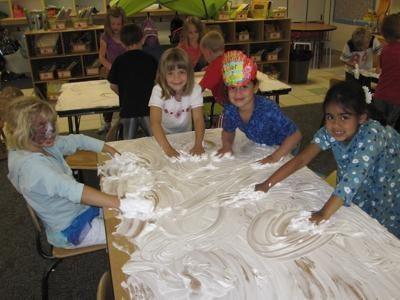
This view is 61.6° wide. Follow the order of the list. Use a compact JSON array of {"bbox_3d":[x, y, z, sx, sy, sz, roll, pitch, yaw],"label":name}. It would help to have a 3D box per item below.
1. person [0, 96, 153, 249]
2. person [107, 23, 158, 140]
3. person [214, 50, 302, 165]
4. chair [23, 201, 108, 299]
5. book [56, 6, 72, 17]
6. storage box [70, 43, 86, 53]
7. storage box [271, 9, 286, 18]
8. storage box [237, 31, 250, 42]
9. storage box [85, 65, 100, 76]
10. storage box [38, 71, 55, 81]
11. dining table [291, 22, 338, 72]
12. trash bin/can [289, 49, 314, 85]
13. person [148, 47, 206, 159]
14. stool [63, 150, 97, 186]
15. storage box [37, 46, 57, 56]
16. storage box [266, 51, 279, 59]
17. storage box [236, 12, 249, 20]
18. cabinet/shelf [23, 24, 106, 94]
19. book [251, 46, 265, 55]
[{"bbox_3d":[-0.847,0.156,2.327,0.624,1.104,0.645,-16,47,-17],"label":"person"},{"bbox_3d":[-0.718,-0.618,3.633,0.520,1.581,0.476,-11,44,-23],"label":"person"},{"bbox_3d":[0.360,-0.364,2.360,0.563,0.804,0.526,5,32,33],"label":"person"},{"bbox_3d":[-0.885,0.689,2.242,0.354,0.650,0.338,-8,40,-13],"label":"chair"},{"bbox_3d":[-2.341,-2.379,5.782,0.172,0.150,0.376,-6,25,-7],"label":"book"},{"bbox_3d":[-2.088,-1.788,5.825,0.268,0.161,0.106,-10,25,-14],"label":"storage box"},{"bbox_3d":[1.464,-2.596,6.328,0.188,0.134,0.203,6,23,21],"label":"storage box"},{"bbox_3d":[0.833,-2.159,6.358,0.242,0.173,0.095,-16,27,-27],"label":"storage box"},{"bbox_3d":[-1.870,-1.395,5.843,0.220,0.191,0.240,-2,21,1],"label":"storage box"},{"bbox_3d":[-2.678,-1.313,5.829,0.290,0.163,0.184,-6,25,-6],"label":"storage box"},{"bbox_3d":[2.439,-2.541,7.824,1.107,0.822,1.179,-17,39,-14],"label":"dining table"},{"bbox_3d":[1.963,-1.676,6.661,0.463,0.585,0.487,12,29,31],"label":"trash bin/can"},{"bbox_3d":[-0.207,-0.199,2.795,0.396,1.216,0.772,0,41,-7],"label":"person"},{"bbox_3d":[-0.929,0.128,2.599,0.211,0.230,0.173,14,25,25],"label":"stool"},{"bbox_3d":[-2.582,-1.693,5.699,0.247,0.155,0.054,-9,24,-13],"label":"storage box"},{"bbox_3d":[1.399,-1.876,6.469,0.184,0.150,0.117,-1,20,-1],"label":"storage box"},{"bbox_3d":[0.789,-2.535,6.246,0.154,0.110,0.168,-4,23,0],"label":"storage box"},{"bbox_3d":[-2.235,-1.552,5.581,1.328,1.364,0.465,-7,22,-14],"label":"cabinet/shelf"},{"bbox_3d":[1.147,-2.015,6.684,0.254,0.104,0.165,-3,37,8],"label":"book"}]
